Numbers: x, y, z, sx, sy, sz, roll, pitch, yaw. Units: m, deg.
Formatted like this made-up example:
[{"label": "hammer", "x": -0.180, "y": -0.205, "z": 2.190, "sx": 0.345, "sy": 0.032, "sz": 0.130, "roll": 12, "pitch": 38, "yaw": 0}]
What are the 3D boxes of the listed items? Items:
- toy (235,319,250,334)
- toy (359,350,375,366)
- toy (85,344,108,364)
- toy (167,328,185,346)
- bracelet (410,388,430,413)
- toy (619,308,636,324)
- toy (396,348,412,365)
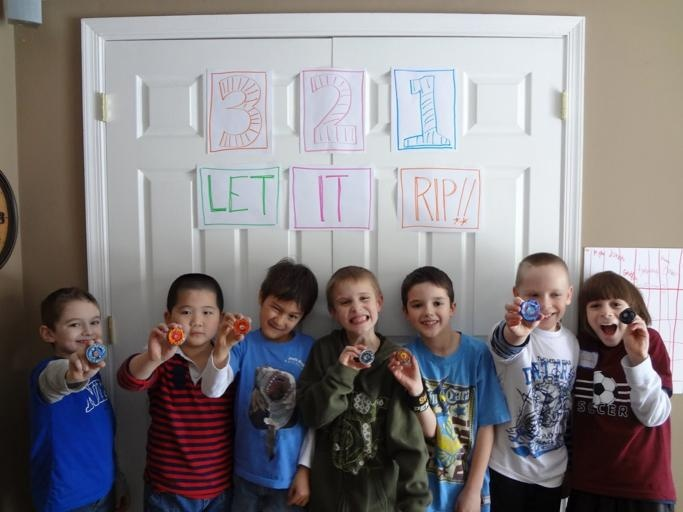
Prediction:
[{"label": "toy", "x": -0.365, "y": 0.259, "z": 2.076, "sx": 0.051, "sy": 0.057, "sz": 0.041, "roll": -5, "pitch": 8, "yaw": -6}, {"label": "toy", "x": 0.092, "y": 0.389, "z": 2.155, "sx": 0.051, "sy": 0.059, "sz": 0.025, "roll": 1, "pitch": 4, "yaw": 0}, {"label": "toy", "x": -0.889, "y": 0.356, "z": 2.039, "sx": 0.066, "sy": 0.075, "sz": 0.068, "roll": -1, "pitch": 5, "yaw": -31}, {"label": "toy", "x": -0.615, "y": 0.295, "z": 2.092, "sx": 0.059, "sy": 0.074, "sz": 0.044, "roll": -1, "pitch": 4, "yaw": -22}, {"label": "bracelet", "x": 0.299, "y": 0.566, "z": 2.229, "sx": 0.076, "sy": 0.067, "sz": 0.075, "roll": -28, "pitch": 14, "yaw": -36}, {"label": "toy", "x": 1.097, "y": 0.233, "z": 2.157, "sx": 0.060, "sy": 0.061, "sz": 0.038, "roll": 2, "pitch": 4, "yaw": 17}, {"label": "toy", "x": 0.236, "y": 0.383, "z": 2.140, "sx": 0.049, "sy": 0.056, "sz": 0.050, "roll": 5, "pitch": -6, "yaw": 6}]
